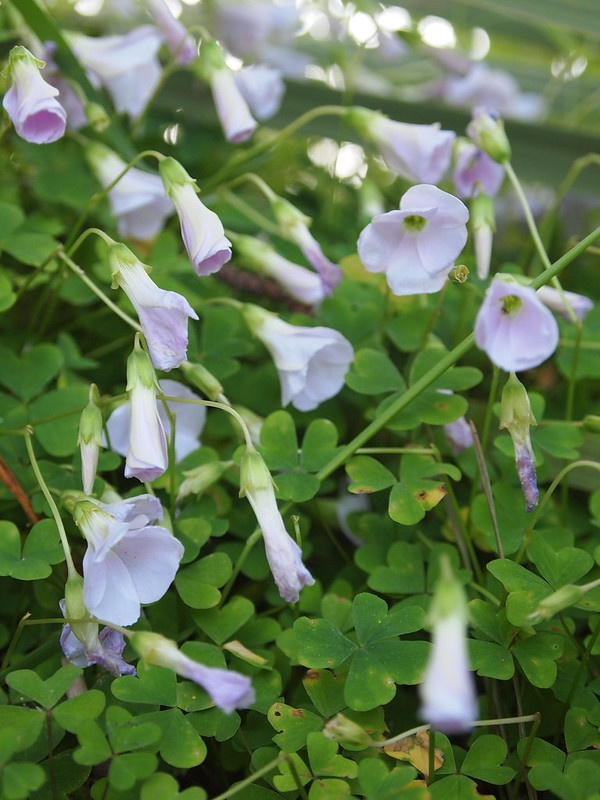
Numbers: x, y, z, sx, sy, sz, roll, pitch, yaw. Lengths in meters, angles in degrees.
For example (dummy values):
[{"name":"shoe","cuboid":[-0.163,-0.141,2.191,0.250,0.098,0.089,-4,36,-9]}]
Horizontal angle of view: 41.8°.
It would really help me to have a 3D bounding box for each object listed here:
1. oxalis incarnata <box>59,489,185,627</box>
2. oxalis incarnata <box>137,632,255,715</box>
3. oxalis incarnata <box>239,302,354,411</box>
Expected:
[{"name":"oxalis incarnata","cuboid":[-0.159,0.126,0.650,0.096,0.095,0.092,18,37,31]},{"name":"oxalis incarnata","cuboid":[-0.081,0.205,0.578,0.104,0.056,0.026,20,40,34]},{"name":"oxalis incarnata","cuboid":[0.002,-0.057,0.830,0.084,0.065,0.125,-28,42,-16]}]
